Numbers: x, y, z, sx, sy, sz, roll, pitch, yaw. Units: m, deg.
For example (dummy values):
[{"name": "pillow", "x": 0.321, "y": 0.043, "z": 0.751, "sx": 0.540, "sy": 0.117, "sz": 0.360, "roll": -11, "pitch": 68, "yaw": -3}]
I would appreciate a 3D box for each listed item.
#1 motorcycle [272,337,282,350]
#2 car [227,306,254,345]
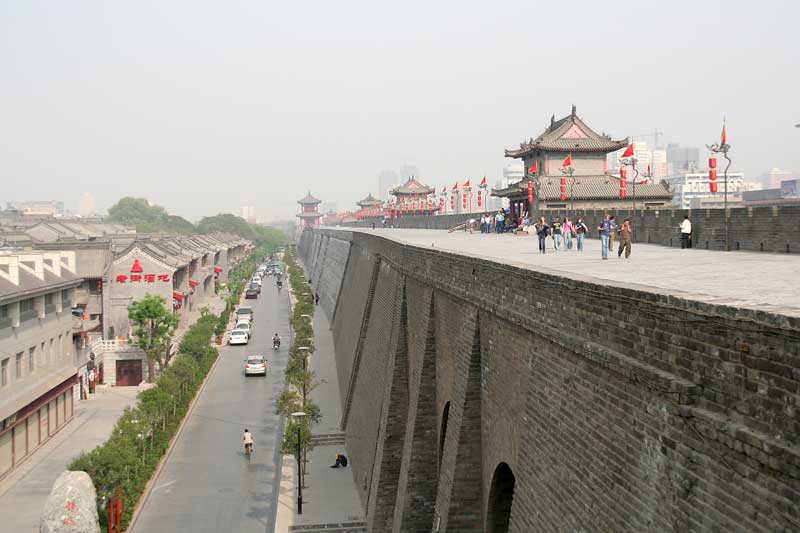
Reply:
[{"name": "motorcycle", "x": -7.925, "y": 4.921, "z": 44.849, "sx": 0.510, "sy": 0.576, "sz": 0.919, "roll": 0, "pitch": -3, "yaw": -9}, {"name": "car", "x": -11.233, "y": 4.385, "z": 49.973, "sx": 1.223, "sy": 1.027, "sz": 5.980, "roll": 1, "pitch": 8, "yaw": -4}]
